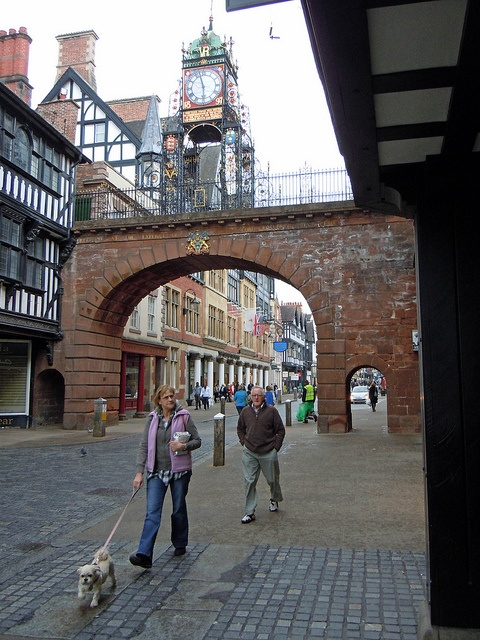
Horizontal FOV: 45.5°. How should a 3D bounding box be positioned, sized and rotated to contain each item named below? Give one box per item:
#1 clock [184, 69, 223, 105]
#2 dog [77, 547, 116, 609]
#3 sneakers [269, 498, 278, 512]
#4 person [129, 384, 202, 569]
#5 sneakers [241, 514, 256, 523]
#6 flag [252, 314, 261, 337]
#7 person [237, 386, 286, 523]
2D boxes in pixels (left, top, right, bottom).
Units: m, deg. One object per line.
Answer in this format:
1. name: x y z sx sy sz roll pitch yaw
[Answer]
1. clock: -1.423 -9.440 23.053 1.198 1.540 0.089 1 5 15
2. dog: -1.031 1.862 4.122 0.128 0.287 0.508 -6 -7 3
3. sneakers: 0.416 2.284 6.980 0.060 0.169 0.160 -4 -22 10
4. person: -0.663 1.351 5.110 0.586 1.534 0.903 -2 -7 1
5. sneakers: 0.095 2.231 6.423 0.186 0.087 0.169 0 -8 -14
6. flag: 1.297 0.388 47.034 0.145 2.550 1.612 -1 -2 20
7. person: 0.253 1.578 6.927 0.562 1.502 0.951 -2 -7 -1
